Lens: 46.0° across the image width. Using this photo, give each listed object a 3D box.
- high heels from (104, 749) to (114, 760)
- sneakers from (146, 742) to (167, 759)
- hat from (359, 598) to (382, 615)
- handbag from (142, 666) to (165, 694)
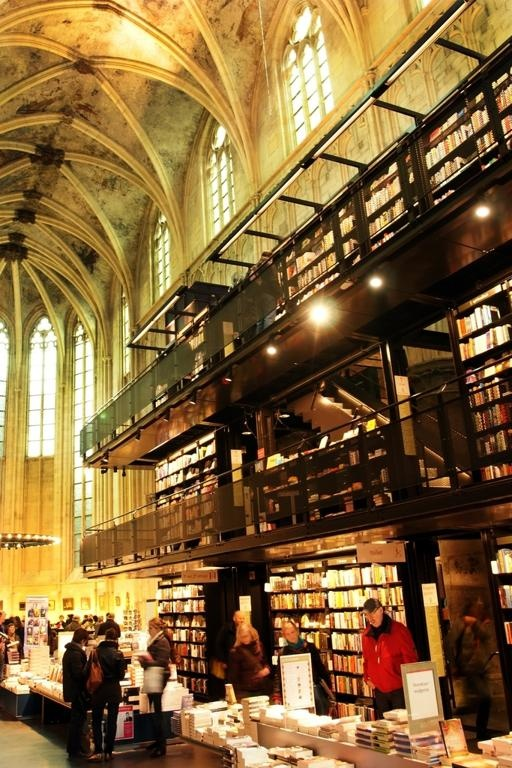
[{"bbox_3d":[-1.598,4.015,6.546,0.048,0.091,0.128,-1,-4,21],"label":"high heels"},{"bbox_3d":[-1.102,4.017,6.656,0.212,0.117,0.619,-2,-19,-12],"label":"sneakers"},{"bbox_3d":[0.850,1.636,4.476,0.124,0.097,0.181,-16,-23,34],"label":"hat"},{"bbox_3d":[-1.180,3.320,6.855,0.281,0.320,0.283,2,-4,-12],"label":"handbag"}]
